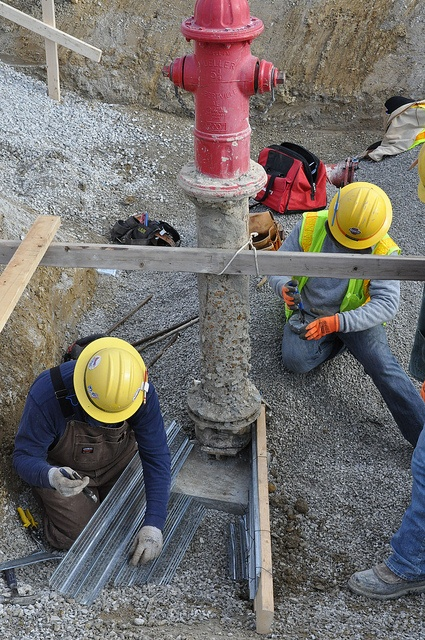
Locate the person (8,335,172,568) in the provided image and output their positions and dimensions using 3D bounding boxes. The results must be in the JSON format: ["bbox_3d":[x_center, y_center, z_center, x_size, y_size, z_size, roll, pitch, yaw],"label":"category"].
[{"bbox_3d":[-0.685,0.773,3.731,0.745,1.273,0.926,-13,58,-30],"label":"person"}]

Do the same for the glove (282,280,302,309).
[{"bbox_3d":[0.523,-0.167,4.435,0.064,0.168,0.138,-22,13,-21],"label":"glove"}]

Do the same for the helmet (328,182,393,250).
[{"bbox_3d":[0.940,-0.669,4.339,0.390,0.358,0.349,5,44,8],"label":"helmet"}]

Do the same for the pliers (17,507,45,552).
[{"bbox_3d":[-1.034,1.165,3.818,0.070,0.084,0.299,-55,45,9],"label":"pliers"}]

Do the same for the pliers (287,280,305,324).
[{"bbox_3d":[0.542,-0.113,4.502,0.096,0.362,0.095,-6,39,14],"label":"pliers"}]

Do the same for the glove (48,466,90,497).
[{"bbox_3d":[-0.744,0.824,3.481,0.158,0.118,0.218,-29,14,3],"label":"glove"}]
